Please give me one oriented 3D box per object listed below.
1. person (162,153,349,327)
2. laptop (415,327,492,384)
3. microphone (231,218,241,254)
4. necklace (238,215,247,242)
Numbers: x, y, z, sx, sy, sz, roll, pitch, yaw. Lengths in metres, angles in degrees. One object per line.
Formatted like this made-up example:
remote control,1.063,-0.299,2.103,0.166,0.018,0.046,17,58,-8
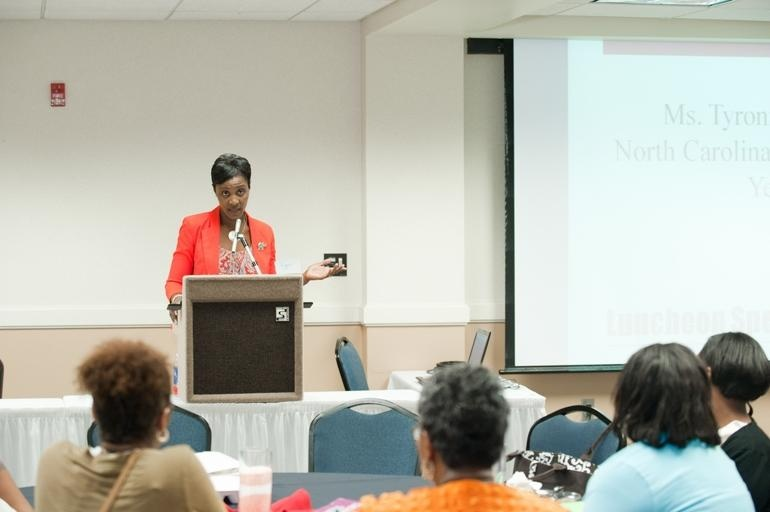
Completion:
person,-0.853,-0.138,3.951,0.832,1.006,0.507,0,-2,-19
laptop,0.517,0.628,4.641,0.504,0.423,0.577,3,-7,-10
microphone,-0.882,-0.125,3.941,0.066,0.222,0.065,5,18,-9
necklace,-0.862,-0.182,4.026,0.048,0.188,0.049,-1,3,-3
